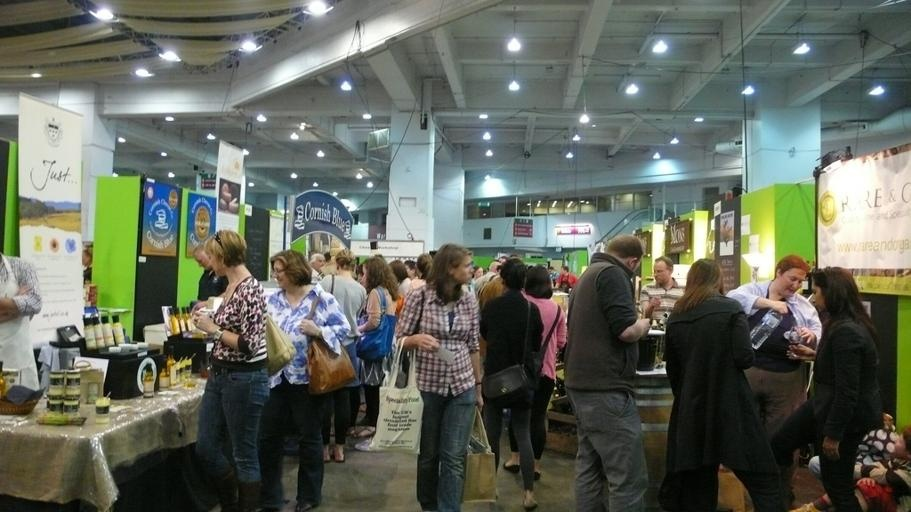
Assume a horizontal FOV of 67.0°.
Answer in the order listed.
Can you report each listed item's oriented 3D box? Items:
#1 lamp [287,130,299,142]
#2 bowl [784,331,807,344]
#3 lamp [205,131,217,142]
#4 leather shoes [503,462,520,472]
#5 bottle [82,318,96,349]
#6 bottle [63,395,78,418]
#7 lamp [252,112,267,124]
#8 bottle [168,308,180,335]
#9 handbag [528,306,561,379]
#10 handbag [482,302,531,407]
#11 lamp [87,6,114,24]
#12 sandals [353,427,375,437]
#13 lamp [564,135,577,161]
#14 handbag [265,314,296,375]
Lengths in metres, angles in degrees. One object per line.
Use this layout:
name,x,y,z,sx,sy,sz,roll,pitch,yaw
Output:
lamp,-5.125,-3.829,21.836,0.306,0.197,0.337,1,-1,-15
bowl,4.257,1.020,8.645,0.167,0.123,0.184,-1,-8,18
lamp,-7.887,-3.845,22.160,0.286,0.111,0.330,0,-6,-9
leather shoes,0.766,2.899,9.453,0.239,0.089,0.093,0,-12,43
bottle,-4.469,0.953,8.420,0.149,0.375,0.105,1,-1,-23
bottle,-4.341,1.691,7.751,0.167,0.217,0.054,1,-1,-2
lamp,-5.380,-3.880,19.016,0.308,0.129,0.403,0,-8,-14
bottle,-3.683,0.839,8.984,0.173,0.351,0.255,1,-1,-21
handbag,1.134,1.096,8.740,0.277,0.824,0.496,14,3,-14
handbag,0.538,1.170,8.265,0.612,1.264,0.253,-18,30,-27
lamp,-6.527,-4.501,12.818,0.430,0.108,0.442,0,-1,15
sandals,-1.347,2.575,10.158,0.176,0.089,0.374,-5,-11,31
lamp,4.179,-3.813,24.920,0.449,0.790,0.433,2,1,11
handbag,-2.104,1.059,8.248,0.337,0.721,0.216,1,-1,-15
